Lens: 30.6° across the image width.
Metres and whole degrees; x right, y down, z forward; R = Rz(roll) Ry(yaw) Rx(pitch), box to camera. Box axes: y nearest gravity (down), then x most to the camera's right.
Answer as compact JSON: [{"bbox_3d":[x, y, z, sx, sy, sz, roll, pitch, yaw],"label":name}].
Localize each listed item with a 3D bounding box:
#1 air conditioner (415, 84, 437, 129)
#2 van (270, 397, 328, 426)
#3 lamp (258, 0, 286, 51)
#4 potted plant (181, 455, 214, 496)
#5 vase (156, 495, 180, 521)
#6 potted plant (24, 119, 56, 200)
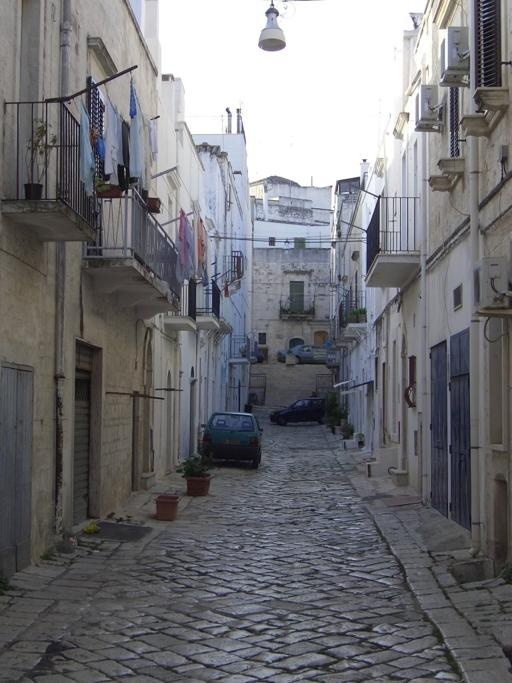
[{"bbox_3d":[2.271,-3.164,12.502,0.169,0.500,0.421,0,-13,1],"label":"air conditioner"},{"bbox_3d":[1.727,2.925,38.015,1.586,1.284,1.180,2,-2,-6],"label":"van"},{"bbox_3d":[0.185,-3.884,11.206,0.288,0.775,0.634,0,-3,0],"label":"lamp"},{"bbox_3d":[-0.948,2.187,14.906,0.422,0.619,0.620,1,-3,-5],"label":"potted plant"},{"bbox_3d":[-1.160,2.202,12.255,0.240,0.313,0.263,2,-6,-2],"label":"vase"},{"bbox_3d":[-2.018,-1.689,8.743,0.277,0.897,0.849,1,-3,-15],"label":"potted plant"}]
